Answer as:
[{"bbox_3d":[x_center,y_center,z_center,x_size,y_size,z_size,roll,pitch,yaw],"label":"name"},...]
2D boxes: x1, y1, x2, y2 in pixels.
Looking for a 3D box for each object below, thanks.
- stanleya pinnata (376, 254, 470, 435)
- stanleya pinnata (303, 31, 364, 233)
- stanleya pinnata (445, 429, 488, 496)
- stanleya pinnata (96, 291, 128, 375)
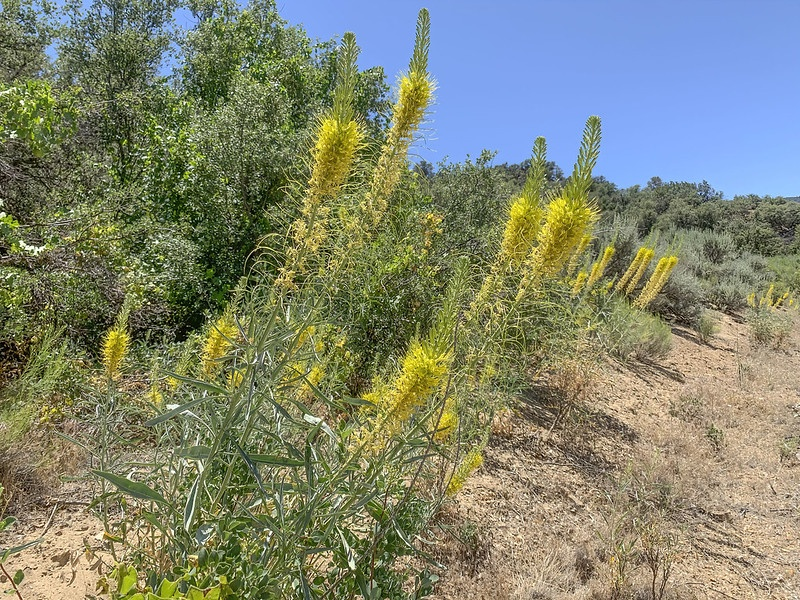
[{"bbox_3d":[0.173,0.329,3.870,0.387,0.928,0.364,16,8,3],"label":"stanleya pinnata"},{"bbox_3d":[-0.400,-1.094,3.886,0.324,0.838,0.306,14,8,-12],"label":"stanleya pinnata"},{"bbox_3d":[0.554,1.330,4.727,0.177,0.442,0.375,17,8,11],"label":"stanleya pinnata"},{"bbox_3d":[-2.172,0.264,4.489,0.172,0.644,0.598,12,10,-25],"label":"stanleya pinnata"}]
